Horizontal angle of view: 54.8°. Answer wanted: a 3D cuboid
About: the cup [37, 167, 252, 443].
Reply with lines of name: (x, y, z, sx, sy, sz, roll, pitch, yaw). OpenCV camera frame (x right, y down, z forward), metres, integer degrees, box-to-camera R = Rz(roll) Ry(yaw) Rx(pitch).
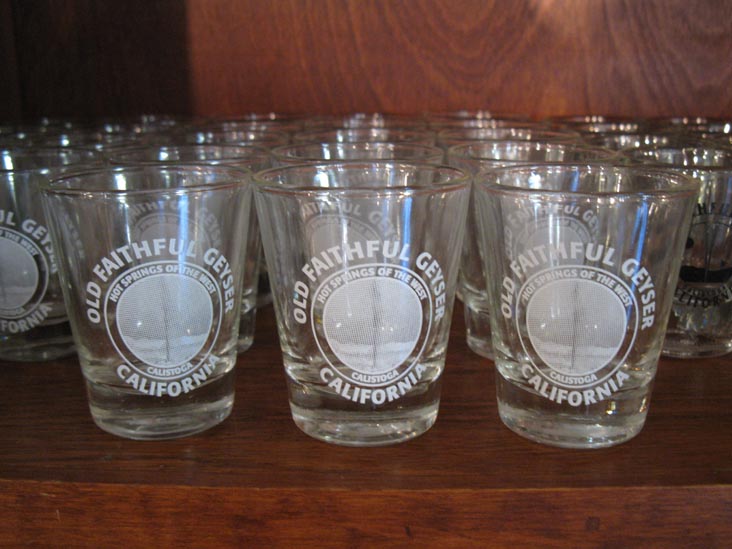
cup: (-0.163, 0.017, 0.650, 0.194, 0.229, 0.196, 2, 20, -1)

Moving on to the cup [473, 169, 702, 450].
cup: (0.168, 0.023, 0.631, 0.194, 0.229, 0.199, -2, 20, 1)
